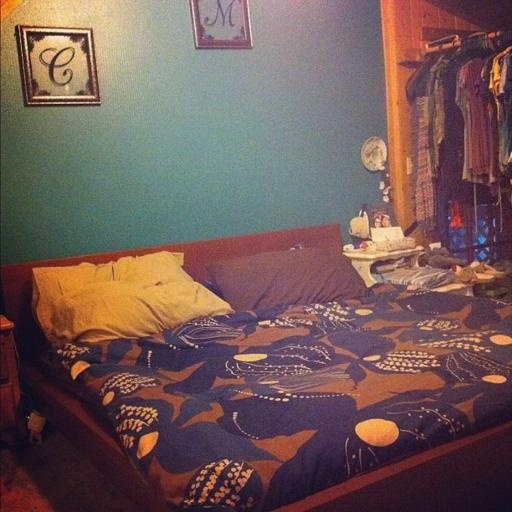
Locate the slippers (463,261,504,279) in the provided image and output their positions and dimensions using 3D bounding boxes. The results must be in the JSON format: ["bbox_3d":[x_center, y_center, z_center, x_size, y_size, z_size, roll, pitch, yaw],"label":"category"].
[{"bbox_3d":[1.619,0.107,3.115,0.163,0.065,0.167,4,13,41],"label":"slippers"}]

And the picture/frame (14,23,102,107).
[{"bbox_3d":[-1.046,-1.006,2.289,0.434,0.473,0.044,-5,4,-33],"label":"picture/frame"}]

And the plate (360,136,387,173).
[{"bbox_3d":[0.888,-0.769,3.351,0.232,0.267,0.050,-10,13,-37],"label":"plate"}]
